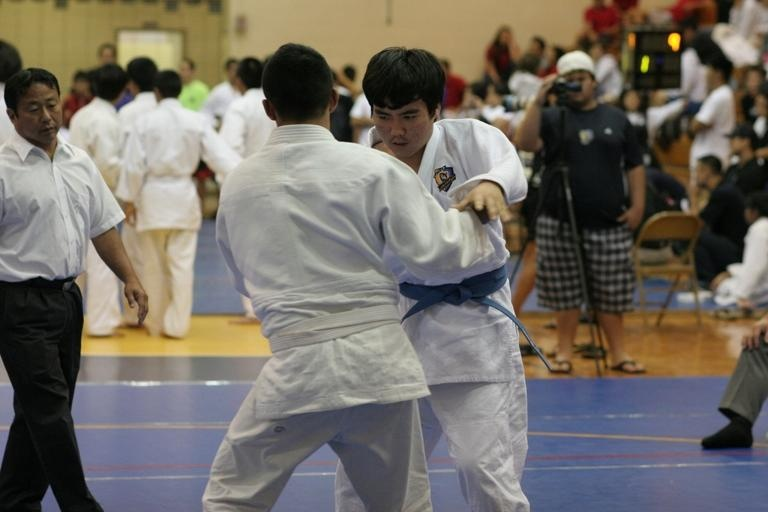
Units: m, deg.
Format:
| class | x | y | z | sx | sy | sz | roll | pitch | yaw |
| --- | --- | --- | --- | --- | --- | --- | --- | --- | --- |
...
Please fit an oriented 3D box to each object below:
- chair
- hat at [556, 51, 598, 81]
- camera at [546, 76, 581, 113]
| class | x | y | z | sx | sy | sz | roll | pitch | yaw |
| --- | --- | --- | --- | --- | --- | --- | --- | --- | --- |
| chair | 1.921 | 0.086 | 6.973 | 0.580 | 0.795 | 0.620 | 0 | 6 | 11 |
| hat | 1.413 | -1.465 | 7.347 | 0.231 | 0.188 | 0.236 | 1 | -10 | 4 |
| camera | 1.289 | -1.192 | 7.167 | 0.221 | 0.108 | 0.226 | 2 | -22 | -1 |
